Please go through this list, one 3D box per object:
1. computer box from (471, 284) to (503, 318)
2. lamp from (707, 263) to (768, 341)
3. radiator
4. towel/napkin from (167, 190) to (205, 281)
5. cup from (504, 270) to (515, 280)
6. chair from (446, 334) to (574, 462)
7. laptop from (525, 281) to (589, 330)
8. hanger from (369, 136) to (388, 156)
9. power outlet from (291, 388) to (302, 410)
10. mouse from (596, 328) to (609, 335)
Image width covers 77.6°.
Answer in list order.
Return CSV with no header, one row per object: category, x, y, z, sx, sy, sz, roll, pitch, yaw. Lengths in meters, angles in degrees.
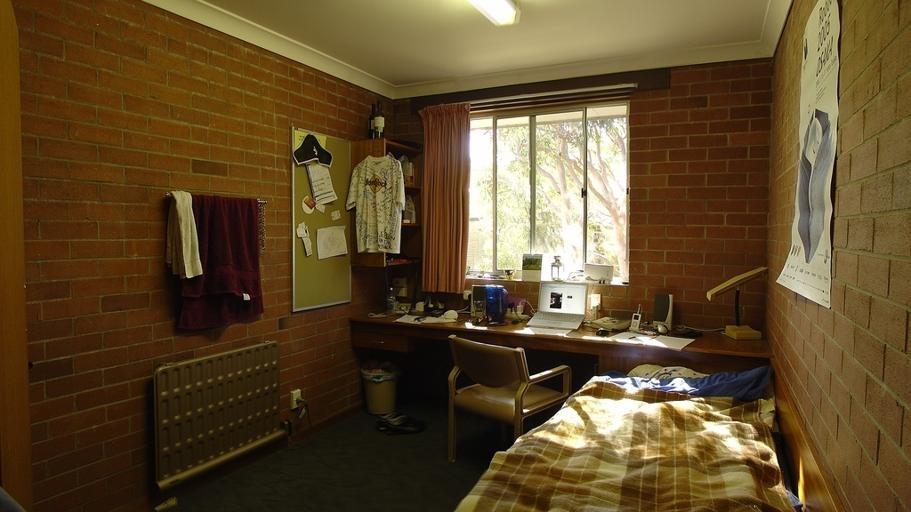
computer box,0.366,0.462,5.583,0.209,0.312,0.357,8,-8,-43
lamp,2.429,0.397,4.853,0.485,0.611,0.398,-1,4,22
radiator,-1.946,1.277,4.519,1.288,0.983,0.115,-21,-27,18
towel/napkin,-2.091,-0.161,4.322,0.238,0.674,0.119,-5,4,-24
cup,0.573,0.179,5.776,0.063,0.102,0.128,0,5,39
chair,0.471,1.209,4.855,0.952,0.993,0.922,1,4,28
laptop,1.014,0.460,5.373,0.536,0.341,0.461,2,5,27
hanger,-0.748,-1.064,5.670,0.162,0.247,0.278,2,4,4
power outlet,-1.430,1.286,5.138,0.053,0.174,0.140,-1,4,27
mouse,1.307,0.664,5.008,0.075,0.035,0.062,4,1,29
